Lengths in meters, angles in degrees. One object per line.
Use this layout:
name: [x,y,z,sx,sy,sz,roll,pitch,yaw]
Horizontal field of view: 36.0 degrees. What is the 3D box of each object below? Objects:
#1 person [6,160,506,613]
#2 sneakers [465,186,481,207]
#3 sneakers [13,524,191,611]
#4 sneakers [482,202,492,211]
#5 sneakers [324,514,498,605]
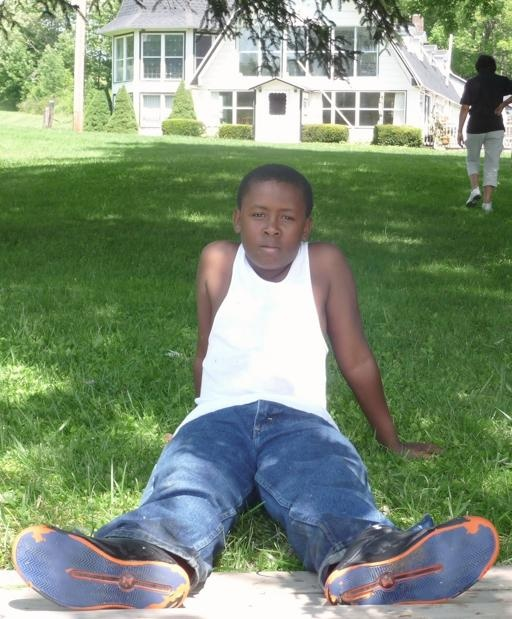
person: [0.016,0.091,2.150,0.814,0.667,1.298,2,15,2]
sneakers: [2.638,-1.345,9.520,0.135,0.170,0.358,6,-16,2]
sneakers: [-0.321,0.545,1.697,0.391,0.166,0.160,14,-9,-11]
sneakers: [2.719,-1.224,9.254,0.108,0.110,0.084,3,5,37]
sneakers: [0.325,0.540,1.679,0.249,0.099,0.124,-18,5,3]
